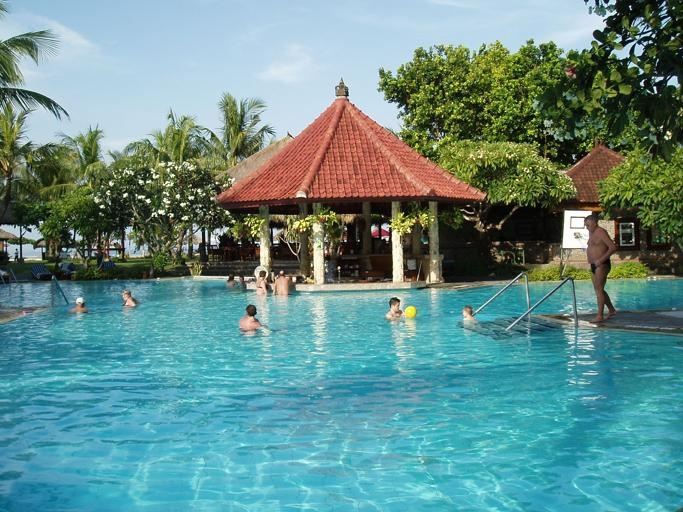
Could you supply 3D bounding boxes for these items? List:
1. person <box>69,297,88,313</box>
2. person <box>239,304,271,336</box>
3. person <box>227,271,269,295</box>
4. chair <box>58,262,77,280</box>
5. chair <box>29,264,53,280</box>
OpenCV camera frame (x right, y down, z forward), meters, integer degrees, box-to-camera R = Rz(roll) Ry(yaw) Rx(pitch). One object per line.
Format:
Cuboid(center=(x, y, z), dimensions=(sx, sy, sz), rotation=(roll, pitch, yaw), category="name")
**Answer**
Cuboid(center=(-7.614, 1.476, 17.808), dimensions=(0.529, 0.460, 0.922), rotation=(-1, 4, -9), category="person")
Cuboid(center=(-1.949, 1.411, 13.850), dimensions=(0.706, 0.508, 0.862), rotation=(-2, -1, -10), category="person")
Cuboid(center=(-3.587, 1.124, 24.601), dimensions=(1.841, 0.674, 1.015), rotation=(0, 1, 25), category="person")
Cuboid(center=(-14.353, 0.797, 32.110), dimensions=(0.788, 0.608, 1.359), rotation=(-2, -1, -25), category="chair")
Cuboid(center=(-15.879, 0.864, 32.339), dimensions=(0.638, 0.470, 1.064), rotation=(-4, 10, -36), category="chair")
